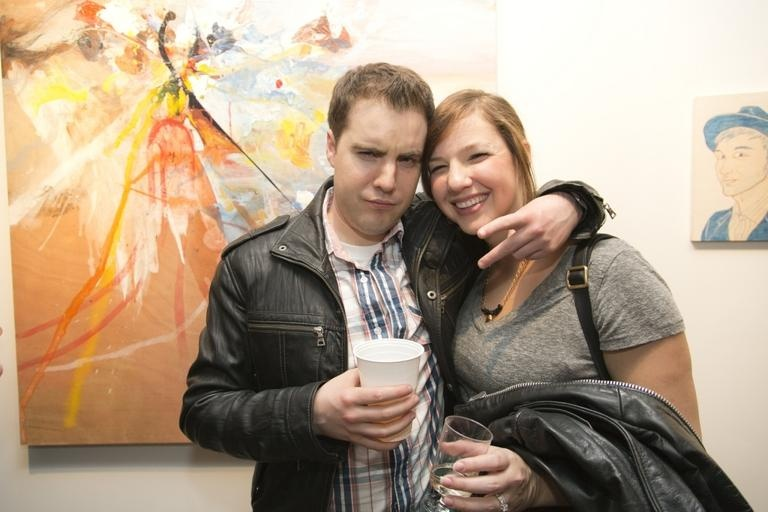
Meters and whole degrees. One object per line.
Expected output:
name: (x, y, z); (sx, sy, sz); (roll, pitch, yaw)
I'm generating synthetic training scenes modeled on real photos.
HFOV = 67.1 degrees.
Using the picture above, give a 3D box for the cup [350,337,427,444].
cup: (0.038, 0.533, 2.559); (0.412, 0.401, 0.401); (0, 8, 0)

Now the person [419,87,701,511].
person: (0.661, 0.118, 2.560); (1.185, 1.830, 0.574); (1, 3, 38)

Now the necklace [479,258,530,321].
necklace: (0.578, 0.168, 2.700); (0.054, 0.295, 0.172); (22, 12, -14)
